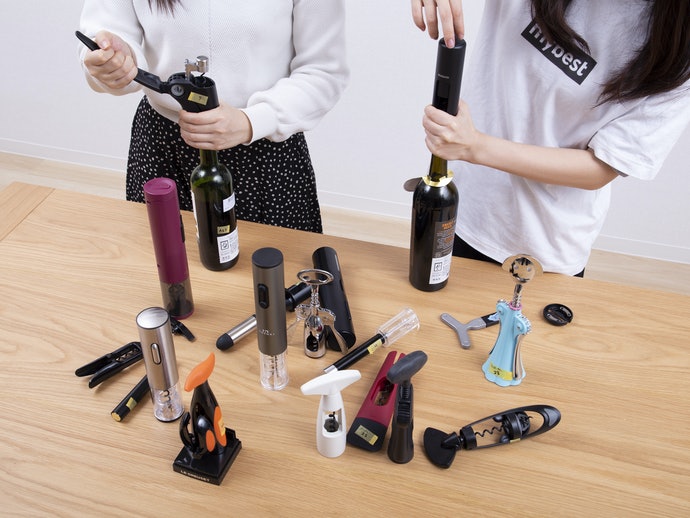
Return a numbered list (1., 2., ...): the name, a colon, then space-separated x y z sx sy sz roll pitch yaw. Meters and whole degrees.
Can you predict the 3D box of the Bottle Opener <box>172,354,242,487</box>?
1. Bottle Opener: -0.248 0.297 0.949 0.091 0.161 0.102 13 42 21
